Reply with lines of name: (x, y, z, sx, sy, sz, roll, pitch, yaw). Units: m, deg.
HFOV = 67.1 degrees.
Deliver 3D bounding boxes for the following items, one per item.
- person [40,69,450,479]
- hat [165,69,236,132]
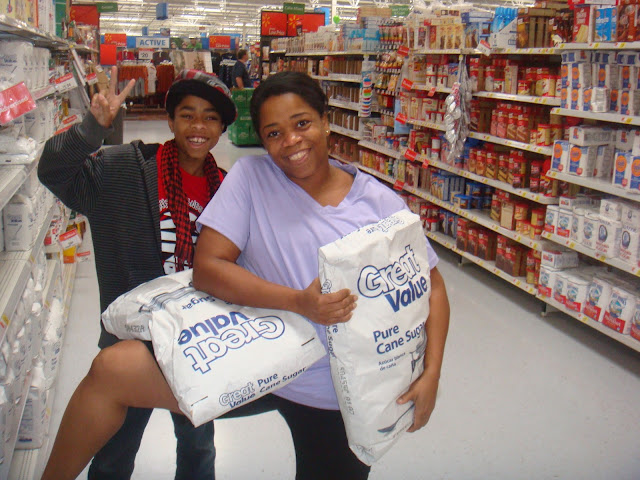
person: (-0.169, 0.148, 1.566, 1.215, 1.318, 0.551, -5, 17, -11)
hat: (-0.470, -0.591, 1.857, 0.208, 0.174, 0.304, -13, -8, -15)
